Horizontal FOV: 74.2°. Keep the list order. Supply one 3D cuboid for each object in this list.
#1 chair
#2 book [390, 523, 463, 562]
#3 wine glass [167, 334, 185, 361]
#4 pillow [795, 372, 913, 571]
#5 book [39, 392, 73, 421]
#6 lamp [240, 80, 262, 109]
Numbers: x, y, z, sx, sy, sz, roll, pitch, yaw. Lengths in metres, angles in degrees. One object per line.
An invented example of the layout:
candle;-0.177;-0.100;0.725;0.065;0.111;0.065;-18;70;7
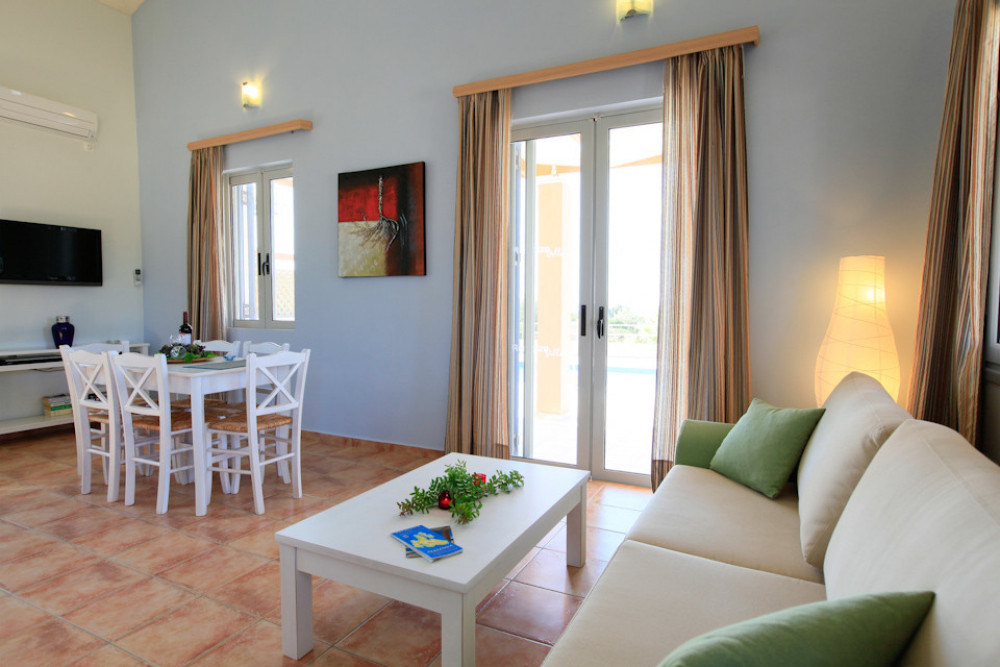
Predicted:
chair;-2.326;0.601;5.055;1.644;0.983;1.158;1;3;24
book;-0.358;1.018;3.216;0.260;0.078;0.279;-6;7;-29
wine glass;-2.626;0.119;5.358;0.152;0.205;0.087;5;-18;-3
pillow;1.863;0.531;3.506;0.376;0.466;1.201;-3;8;21
book;-4.414;0.737;6.563;0.236;0.227;0.219;0;-2;-34
lamp;-2.418;-2.323;6.394;0.253;0.285;0.102;2;9;32
